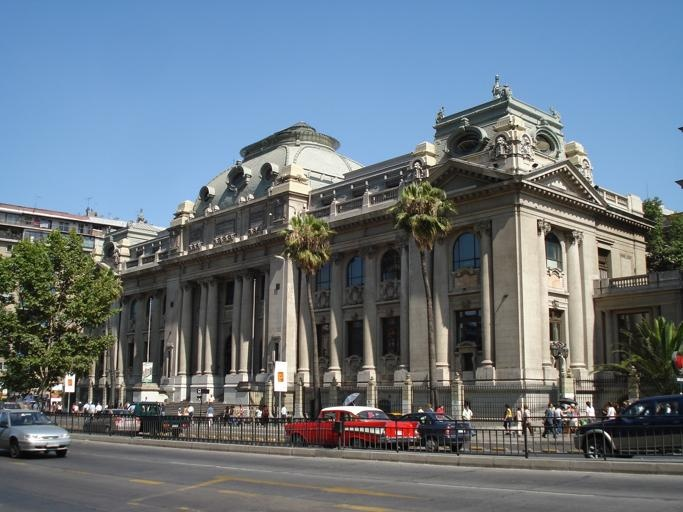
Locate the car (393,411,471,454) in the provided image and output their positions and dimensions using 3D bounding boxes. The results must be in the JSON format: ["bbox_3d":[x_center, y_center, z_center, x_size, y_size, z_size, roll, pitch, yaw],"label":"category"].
[{"bbox_3d":[4.380,8.205,36.977,1.312,0.871,2.798,8,-11,-38],"label":"car"}]

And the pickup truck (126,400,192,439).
[{"bbox_3d":[-10.254,9.409,45.845,2.071,1.805,4.217,12,-16,-43],"label":"pickup truck"}]

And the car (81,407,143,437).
[{"bbox_3d":[-13.622,10.089,48.423,1.944,1.218,4.218,9,-11,-38],"label":"car"}]

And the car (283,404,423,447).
[{"bbox_3d":[0.499,8.156,37.596,6.003,1.816,2.067,-6,-10,40],"label":"car"}]
